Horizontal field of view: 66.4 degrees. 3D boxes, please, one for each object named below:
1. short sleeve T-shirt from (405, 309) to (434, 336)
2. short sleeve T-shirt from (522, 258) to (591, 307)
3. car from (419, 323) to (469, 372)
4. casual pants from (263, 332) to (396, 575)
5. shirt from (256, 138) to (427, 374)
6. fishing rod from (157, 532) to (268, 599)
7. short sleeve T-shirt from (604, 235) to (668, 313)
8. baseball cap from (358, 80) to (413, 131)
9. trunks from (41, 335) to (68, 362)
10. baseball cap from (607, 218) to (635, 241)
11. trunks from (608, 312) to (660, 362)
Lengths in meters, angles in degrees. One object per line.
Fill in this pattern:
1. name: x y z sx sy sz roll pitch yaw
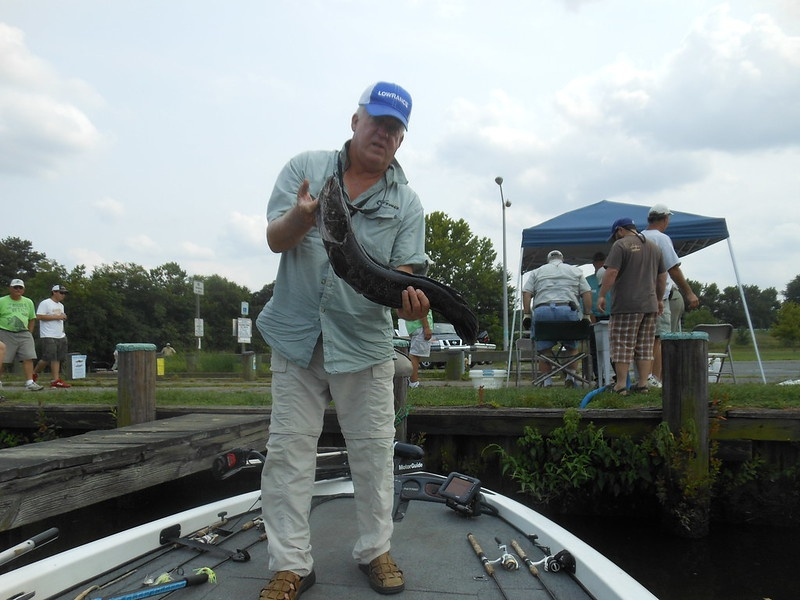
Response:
1. short sleeve T-shirt: 0.210 0.265 6.705 0.183 0.348 0.252 13 -39 -32
2. short sleeve T-shirt: 2.179 -0.221 8.582 0.713 0.666 0.428 -1 -12 19
3. car: 1.307 1.264 18.301 1.066 1.109 1.914 2 -11 -22
4. casual pants: -0.413 0.947 3.621 0.816 1.292 0.571 -4 14 -3
5. shirt: -0.334 -0.256 3.785 0.910 1.373 0.684 6 22 -10
6. fishing rod: -1.193 1.557 3.808 0.533 0.161 0.418 26 -15 -17
7. short sleeve T-shirt: 2.651 -0.274 6.884 0.720 0.916 0.438 4 -8 -4
8. baseball cap: -0.061 -1.184 3.654 0.300 0.245 0.455 16 14 -19
9. trunks: -5.759 0.803 10.171 0.229 0.458 0.415 -6 -6 22
10. baseball cap: 2.595 -0.863 7.241 0.231 0.213 0.345 -4 -3 -21
11. trunks: 2.552 0.421 6.732 0.474 0.596 0.292 -1 14 10
